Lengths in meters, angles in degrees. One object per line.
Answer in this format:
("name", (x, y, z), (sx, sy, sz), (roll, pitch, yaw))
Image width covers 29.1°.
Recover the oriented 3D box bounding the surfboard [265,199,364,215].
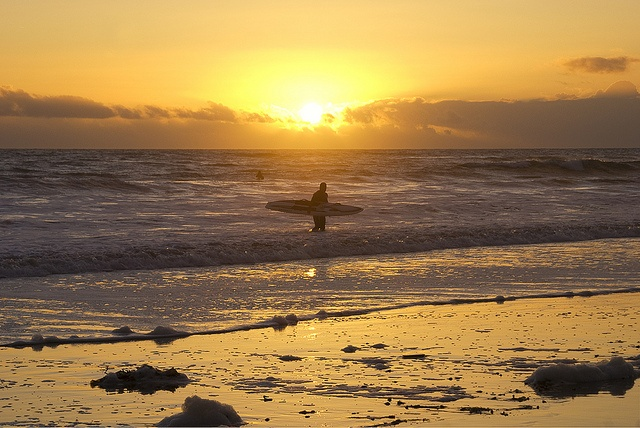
("surfboard", (-0.528, -0.141, 56.040), (4.822, 0.424, 1.219), (2, 10, 21))
